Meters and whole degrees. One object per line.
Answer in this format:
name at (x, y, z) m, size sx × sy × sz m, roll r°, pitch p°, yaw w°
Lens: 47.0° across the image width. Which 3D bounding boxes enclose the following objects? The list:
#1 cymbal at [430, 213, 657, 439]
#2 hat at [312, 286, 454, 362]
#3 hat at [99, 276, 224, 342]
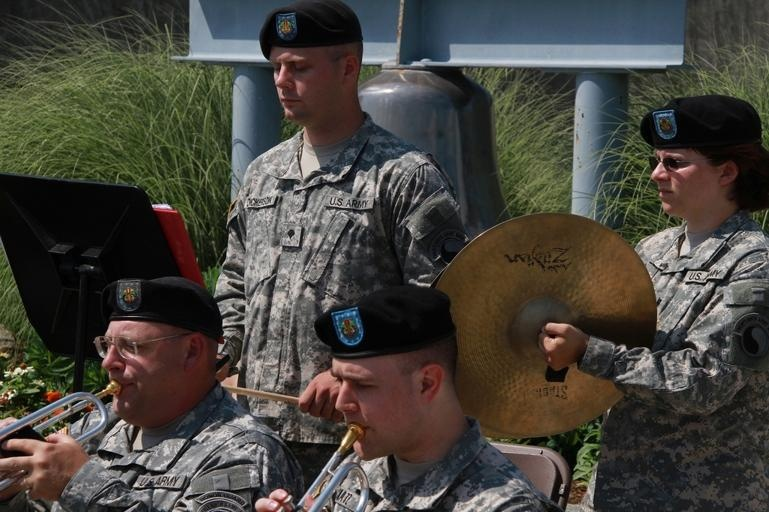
cymbal at (0.657, 0.237, 3.778) m, size 0.936 × 1.072 × 0.222 m, roll 12°, pitch 5°, yaw -14°
hat at (0.002, 0.272, 3.545) m, size 0.565 × 0.246 × 0.190 m, roll -3°, pitch 14°, yaw -2°
hat at (-1.028, 0.239, 4.139) m, size 0.393 × 0.169 × 0.321 m, roll 17°, pitch -14°, yaw 1°
